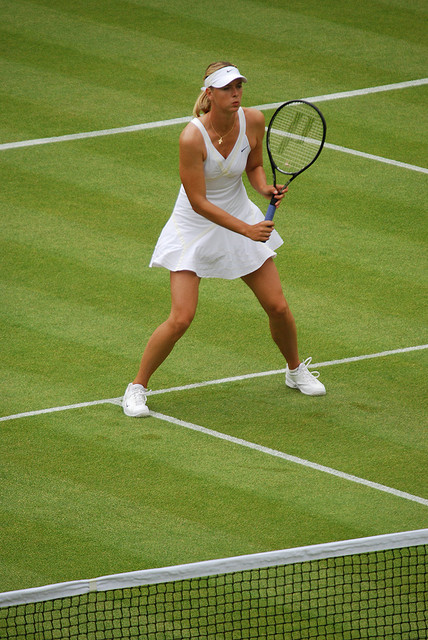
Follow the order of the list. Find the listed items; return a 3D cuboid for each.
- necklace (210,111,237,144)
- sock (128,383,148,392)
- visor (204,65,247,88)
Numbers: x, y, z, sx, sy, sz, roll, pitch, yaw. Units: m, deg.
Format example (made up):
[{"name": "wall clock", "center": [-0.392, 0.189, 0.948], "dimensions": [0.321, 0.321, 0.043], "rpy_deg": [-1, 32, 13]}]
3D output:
[{"name": "necklace", "center": [0.046, -1.123, 5.950], "dimensions": [0.124, 0.184, 0.007], "rpy_deg": [2, 35, -9]}, {"name": "sock", "center": [-0.468, 0.427, 6.362], "dimensions": [0.054, 0.052, 0.066], "rpy_deg": [3, 0, 4]}, {"name": "visor", "center": [0.049, -1.378, 5.856], "dimensions": [0.146, 0.065, 0.201], "rpy_deg": [-13, 1, -31]}]
